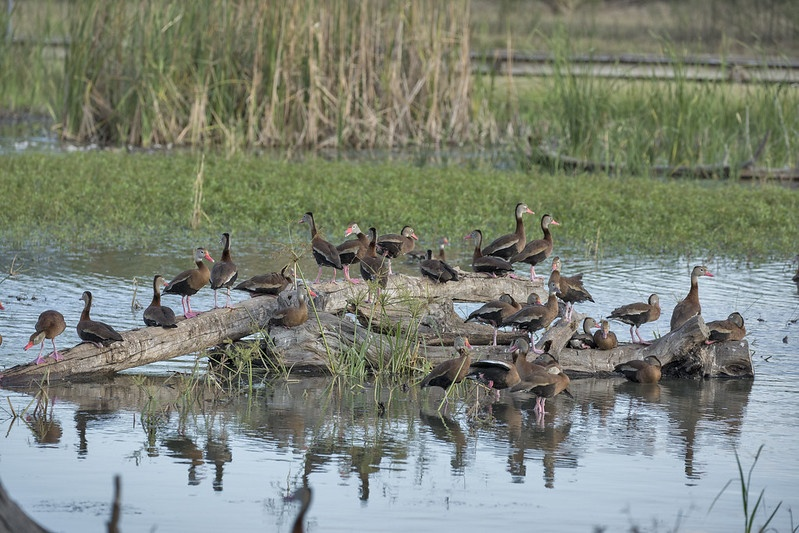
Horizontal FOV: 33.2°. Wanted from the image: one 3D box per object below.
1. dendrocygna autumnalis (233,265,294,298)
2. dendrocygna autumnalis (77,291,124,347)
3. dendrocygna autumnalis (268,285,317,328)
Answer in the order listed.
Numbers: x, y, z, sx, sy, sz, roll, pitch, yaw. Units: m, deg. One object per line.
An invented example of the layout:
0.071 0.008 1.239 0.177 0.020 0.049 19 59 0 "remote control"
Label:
-2.568 0.249 25.369 1.031 0.631 0.516 0 14 -8 "dendrocygna autumnalis"
-5.385 0.939 23.737 0.644 0.911 1.039 -6 8 -44 "dendrocygna autumnalis"
-2.040 0.749 24.561 0.804 0.837 0.596 4 4 19 "dendrocygna autumnalis"
